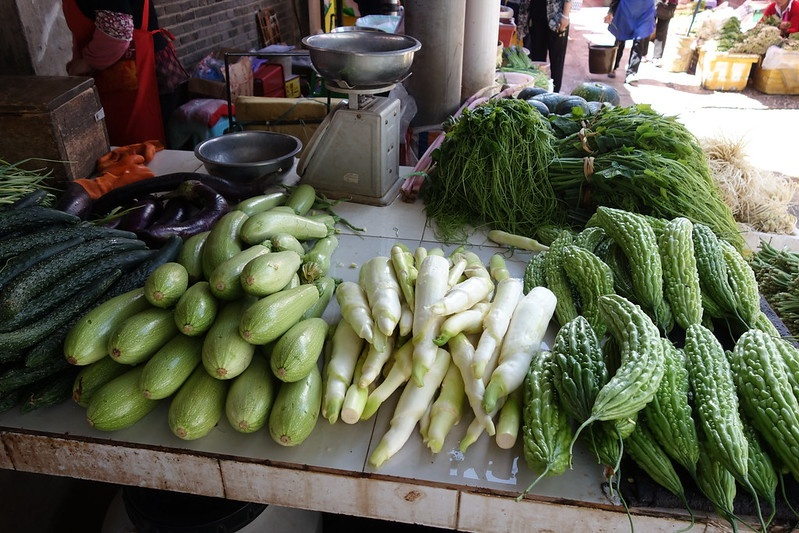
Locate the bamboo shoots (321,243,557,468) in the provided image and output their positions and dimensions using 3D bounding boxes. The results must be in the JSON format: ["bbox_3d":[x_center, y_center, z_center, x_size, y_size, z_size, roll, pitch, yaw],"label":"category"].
[{"bbox_3d":[0.133,0.329,2.127,0.703,0.344,0.908,9,43,8],"label":"bamboo shoots"}]

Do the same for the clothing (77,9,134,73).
[{"bbox_3d":[-2.274,-1.757,4.277,0.202,0.325,0.421,3,37,-31],"label":"clothing"}]

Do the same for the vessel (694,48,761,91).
[{"bbox_3d":[5.309,-3.177,8.963,0.582,0.450,0.908,7,28,10],"label":"vessel"}]

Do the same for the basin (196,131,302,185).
[{"bbox_3d":[-0.880,-0.669,3.304,0.435,0.141,0.432,1,40,-1],"label":"basin"}]

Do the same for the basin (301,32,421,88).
[{"bbox_3d":[-0.227,-1.170,3.141,0.638,0.263,0.513,0,30,-8],"label":"basin"}]
